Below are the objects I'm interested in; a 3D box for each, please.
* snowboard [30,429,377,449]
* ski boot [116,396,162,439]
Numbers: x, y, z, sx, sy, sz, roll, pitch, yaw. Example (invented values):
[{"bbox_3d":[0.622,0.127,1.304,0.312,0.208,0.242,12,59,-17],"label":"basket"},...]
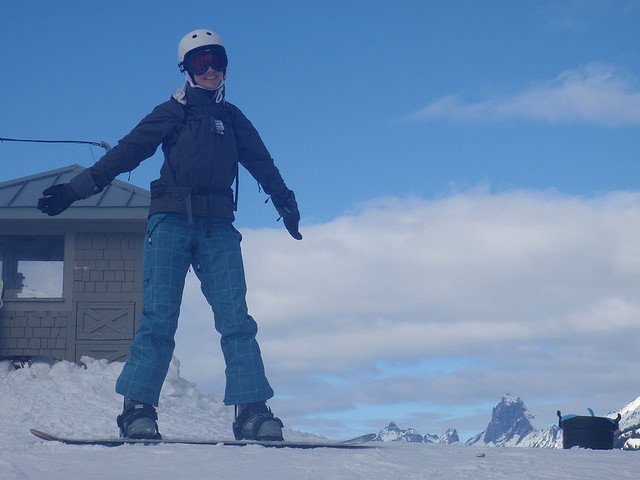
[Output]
[{"bbox_3d":[-1.122,1.962,9.271,3.312,0.102,0.508,2,-5,-8],"label":"snowboard"},{"bbox_3d":[-1.766,1.793,9.342,0.229,0.433,0.584,2,-10,-14],"label":"ski boot"}]
